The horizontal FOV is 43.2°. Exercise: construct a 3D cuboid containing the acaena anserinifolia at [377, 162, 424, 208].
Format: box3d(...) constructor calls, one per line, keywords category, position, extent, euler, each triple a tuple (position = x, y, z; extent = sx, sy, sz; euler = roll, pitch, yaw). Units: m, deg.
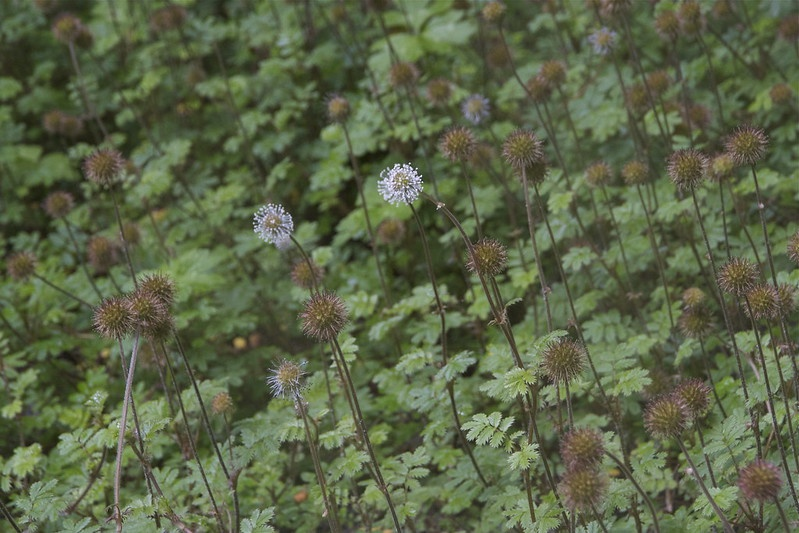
box3d(category="acaena anserinifolia", position=(0.009, -0.690, 8.033), extent=(0.363, 0.460, 0.279), euler=(-4, -11, 5))
